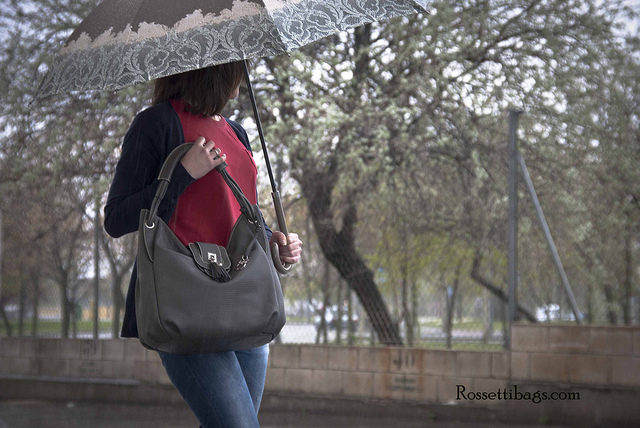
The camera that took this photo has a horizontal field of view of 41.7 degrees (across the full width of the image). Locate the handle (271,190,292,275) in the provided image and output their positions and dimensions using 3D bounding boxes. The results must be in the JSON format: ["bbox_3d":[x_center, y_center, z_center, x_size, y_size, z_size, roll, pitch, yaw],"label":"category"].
[{"bbox_3d":[-0.291,0.138,5.813,0.059,0.515,0.194,-13,-4,19],"label":"handle"}]
